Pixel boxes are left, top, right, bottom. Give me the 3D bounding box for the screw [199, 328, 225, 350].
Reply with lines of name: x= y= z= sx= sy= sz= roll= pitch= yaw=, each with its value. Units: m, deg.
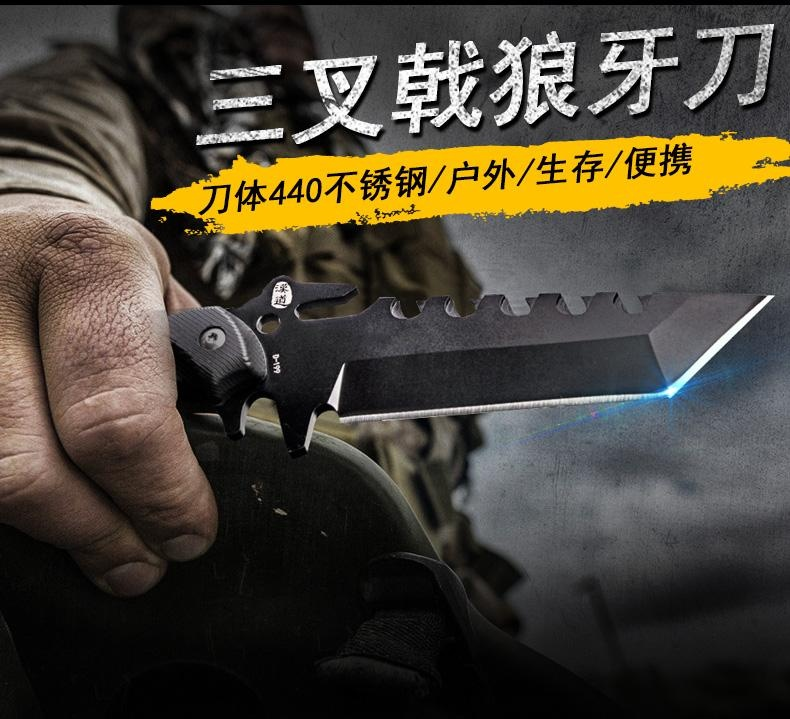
screw: x=-0.311 y=-0.036 z=1.615 sx=0.040 sy=0.007 sz=0.037 roll=23 pitch=85 yaw=6
